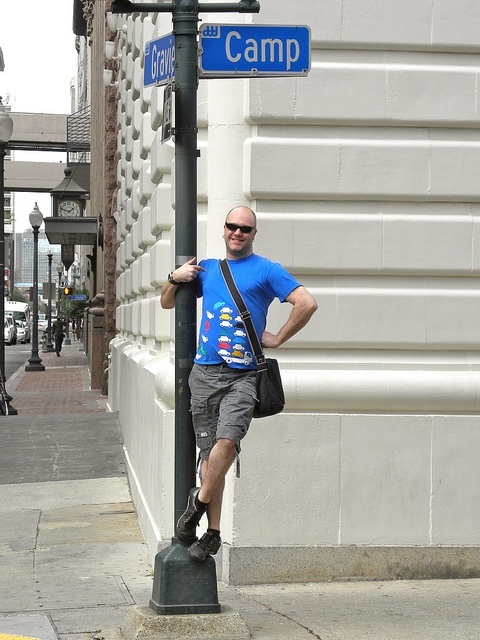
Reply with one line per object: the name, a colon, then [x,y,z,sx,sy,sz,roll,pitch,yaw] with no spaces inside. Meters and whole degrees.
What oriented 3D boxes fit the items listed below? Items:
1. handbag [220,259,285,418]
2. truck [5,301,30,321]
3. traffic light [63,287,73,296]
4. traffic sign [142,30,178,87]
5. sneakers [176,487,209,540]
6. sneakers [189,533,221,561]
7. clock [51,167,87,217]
handbag: [0.046,0.095,6.483,0.356,0.797,0.143,1,2,34]
truck: [-12.922,-0.515,74.679,1.006,0.790,2.126,1,0,-6]
traffic light: [-6.515,-1.079,48.687,0.274,0.287,0.394,1,2,-10]
traffic sign: [-0.418,-1.362,6.747,0.006,0.248,0.330,10,22,25]
sneakers: [-0.251,0.996,6.425,0.108,0.319,0.130,31,-27,-25]
sneakers: [-0.180,1.141,6.444,0.162,0.142,0.108,-1,2,-6]
clock: [-4.766,-3.446,35.591,1.005,1.717,1.028,-1,-4,-5]
